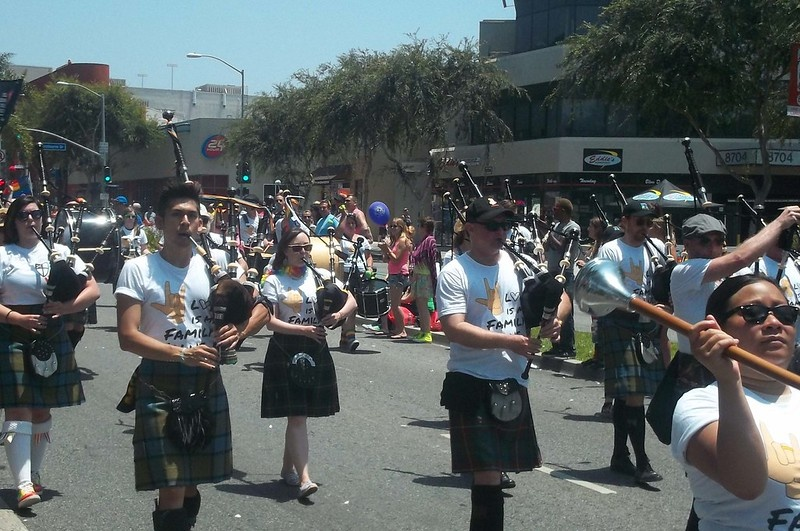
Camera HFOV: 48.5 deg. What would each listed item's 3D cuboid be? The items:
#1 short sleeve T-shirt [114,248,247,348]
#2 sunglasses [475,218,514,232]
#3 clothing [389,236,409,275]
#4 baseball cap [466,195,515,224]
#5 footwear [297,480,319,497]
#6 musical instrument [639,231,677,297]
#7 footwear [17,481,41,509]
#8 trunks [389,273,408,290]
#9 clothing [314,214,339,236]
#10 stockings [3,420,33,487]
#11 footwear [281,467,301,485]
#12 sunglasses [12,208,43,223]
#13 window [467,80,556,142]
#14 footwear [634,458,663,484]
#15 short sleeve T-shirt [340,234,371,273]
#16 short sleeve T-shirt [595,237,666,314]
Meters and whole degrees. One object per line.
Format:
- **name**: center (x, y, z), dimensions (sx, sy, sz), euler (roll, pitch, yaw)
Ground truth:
- **short sleeve T-shirt**: center (-1.748, 0.250, 7.094), dimensions (1.126, 1.078, 0.607), euler (0, -5, -40)
- **sunglasses**: center (0.770, -0.312, 6.908), dimensions (0.306, 0.092, 0.149), euler (-2, 5, -29)
- **clothing**: center (-0.039, -0.182, 15.001), dimensions (0.409, 0.767, 0.655), euler (-2, 3, -6)
- **baseball cap**: center (0.664, -0.428, 6.928), dimensions (0.204, 0.154, 0.276), euler (-5, 0, -32)
- **footwear**: center (-0.828, 1.973, 7.906), dimensions (0.091, 0.101, 0.229), euler (11, -39, -31)
- **musical instrument**: center (2.392, 0.038, 8.237), dimensions (0.300, 0.590, 0.147), euler (-14, -8, -36)
- **footwear**: center (-3.260, 2.002, 7.763), dimensions (0.199, 0.211, 0.168), euler (-2, 4, -29)
- **trunks**: center (-0.029, 0.253, 14.900), dimensions (0.226, 0.235, 0.323), euler (-1, 2, -9)
- **clothing**: center (-1.239, -0.681, 14.888), dimensions (0.268, 0.385, 0.507), euler (19, -16, -39)
- **stockings**: center (-3.400, 1.645, 7.849), dimensions (0.233, 0.558, 0.299), euler (-1, 4, -24)
- **footwear**: center (-1.020, 1.956, 8.288), dimensions (0.099, 0.101, 0.231), euler (0, 4, -41)
- **sunglasses**: center (-3.391, -0.479, 8.031), dimensions (0.237, 0.155, 0.131), euler (-2, 4, -29)
- **window**: center (4.489, -6.082, 34.837), dimensions (0.095, 1.562, 2.665), euler (17, -17, -38)
- **footwear**: center (2.301, 1.918, 8.264), dimensions (0.329, 0.230, 0.128), euler (-7, -7, 37)
- **short sleeve T-shirt**: center (-0.744, -0.187, 14.319), dimensions (0.591, 0.585, 0.332), euler (-1, -4, -20)
- **short sleeve T-shirt**: center (1.925, 0.081, 7.313), dimensions (0.686, 0.561, 0.226), euler (6, -1, -25)
